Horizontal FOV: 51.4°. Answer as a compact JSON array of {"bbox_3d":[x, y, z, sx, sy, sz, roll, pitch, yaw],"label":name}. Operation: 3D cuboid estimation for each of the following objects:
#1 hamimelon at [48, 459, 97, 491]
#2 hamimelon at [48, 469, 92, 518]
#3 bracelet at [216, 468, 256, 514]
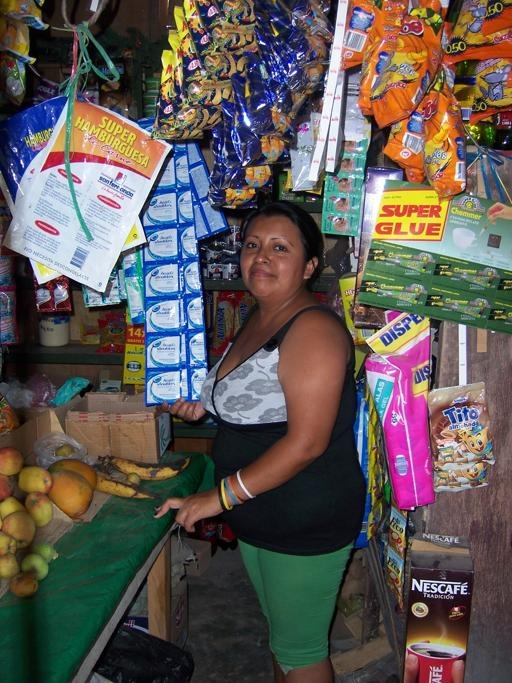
[{"bbox_3d":[-0.610,0.430,1.798,0.135,0.071,0.098,21,-10,-2],"label":"hamimelon"},{"bbox_3d":[-0.574,0.497,1.716,0.190,0.133,0.139,1,-11,31],"label":"hamimelon"},{"bbox_3d":[-0.060,0.387,1.366,0.125,0.099,0.105,-3,16,-14],"label":"bracelet"}]
